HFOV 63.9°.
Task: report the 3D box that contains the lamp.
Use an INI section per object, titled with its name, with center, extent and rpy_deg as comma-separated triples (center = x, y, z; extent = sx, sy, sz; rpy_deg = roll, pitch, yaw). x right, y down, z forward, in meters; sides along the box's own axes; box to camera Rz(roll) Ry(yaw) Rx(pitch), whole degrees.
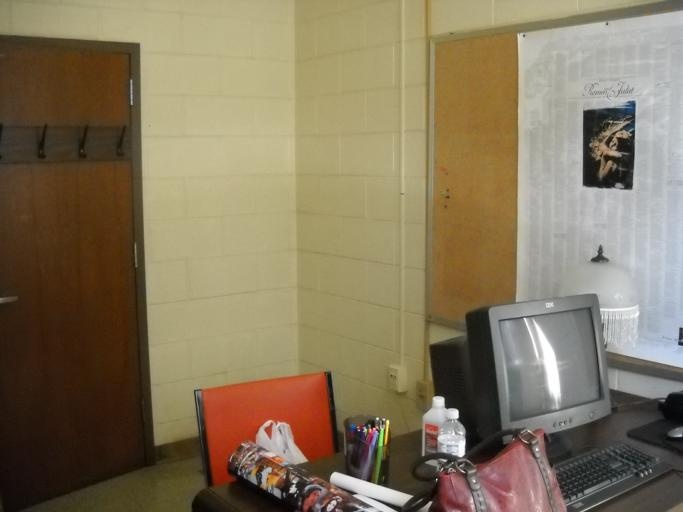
[lamp]
center = 1.061, 0.161, 2.355
extent = 0.280, 0.450, 0.312
rpy_deg = -5, 10, 1

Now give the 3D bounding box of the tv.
[tv]
center = 0.608, 0.293, 1.963
extent = 0.497, 0.482, 0.491
rpy_deg = -5, 2, -24

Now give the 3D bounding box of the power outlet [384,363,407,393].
[power outlet]
center = 0.315, 0.684, 3.096
extent = 0.093, 0.184, 0.172
rpy_deg = -2, 0, -26
